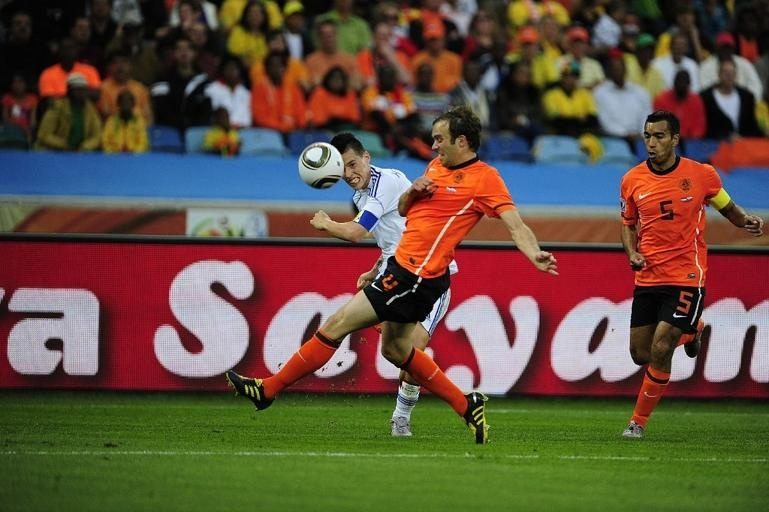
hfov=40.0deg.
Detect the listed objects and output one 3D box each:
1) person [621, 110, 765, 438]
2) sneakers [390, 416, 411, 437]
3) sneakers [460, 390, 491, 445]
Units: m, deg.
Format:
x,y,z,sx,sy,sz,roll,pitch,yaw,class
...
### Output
x,y,z,sx,sy,sz,roll,pitch,yaw,class
2.839,0.180,10.404,1.042,3.197,0.760,3,12,12,person
0.173,1.683,10.388,0.202,0.200,0.175,2,-2,-6,sneakers
0.877,1.527,10.031,0.246,0.540,0.186,-21,13,-10,sneakers
